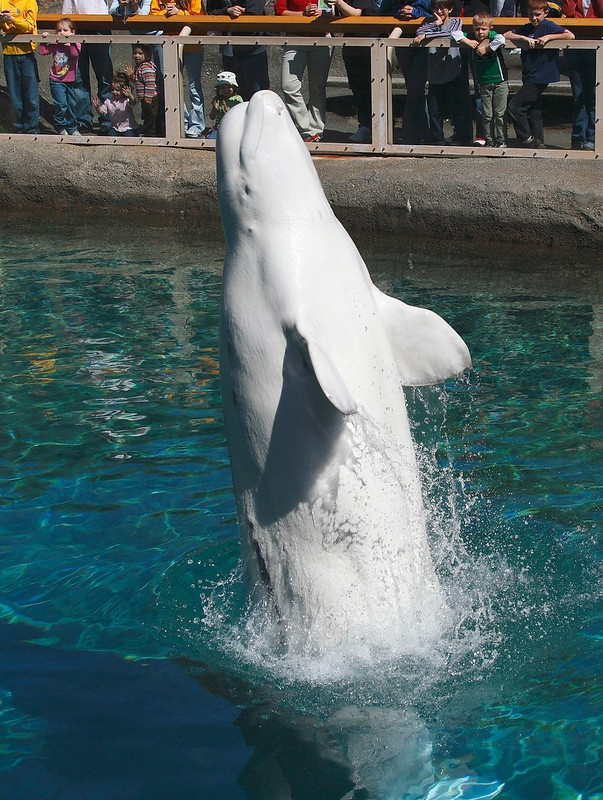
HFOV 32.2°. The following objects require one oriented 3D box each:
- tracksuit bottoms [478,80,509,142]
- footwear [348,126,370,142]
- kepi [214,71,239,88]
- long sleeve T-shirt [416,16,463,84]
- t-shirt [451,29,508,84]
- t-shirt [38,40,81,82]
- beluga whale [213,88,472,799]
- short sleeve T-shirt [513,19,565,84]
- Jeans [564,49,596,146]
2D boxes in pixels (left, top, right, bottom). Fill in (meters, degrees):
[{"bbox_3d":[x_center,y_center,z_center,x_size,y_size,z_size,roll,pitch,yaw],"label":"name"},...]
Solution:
[{"bbox_3d":[1.864,-2.755,10.159,0.265,0.600,0.407,-2,15,10],"label":"tracksuit bottoms"},{"bbox_3d":[0.591,-2.804,11.103,0.260,0.098,0.112,-4,8,-41],"label":"footwear"},{"bbox_3d":[-0.806,-3.384,11.082,0.227,0.159,0.257,-5,14,-2],"label":"kepi"},{"bbox_3d":[1.381,-3.421,10.211,0.559,0.681,0.246,-2,1,36],"label":"long sleeve T-shirt"},{"bbox_3d":[1.767,-3.196,9.944,0.413,0.544,0.190,-7,-9,0],"label":"t-shirt"},{"bbox_3d":[-2.789,-3.913,12.106,0.429,0.335,0.553,-11,56,11],"label":"t-shirt"},{"bbox_3d":[0.129,0.116,3.493,0.692,1.990,1.132,-7,6,38],"label":"beluga whale"},{"bbox_3d":[2.274,-3.326,10.047,0.438,0.615,0.551,-1,15,14],"label":"short sleeve T-shirt"},{"bbox_3d":[2.640,-2.845,9.943,0.284,0.928,0.153,0,16,18],"label":"Jeans"}]
